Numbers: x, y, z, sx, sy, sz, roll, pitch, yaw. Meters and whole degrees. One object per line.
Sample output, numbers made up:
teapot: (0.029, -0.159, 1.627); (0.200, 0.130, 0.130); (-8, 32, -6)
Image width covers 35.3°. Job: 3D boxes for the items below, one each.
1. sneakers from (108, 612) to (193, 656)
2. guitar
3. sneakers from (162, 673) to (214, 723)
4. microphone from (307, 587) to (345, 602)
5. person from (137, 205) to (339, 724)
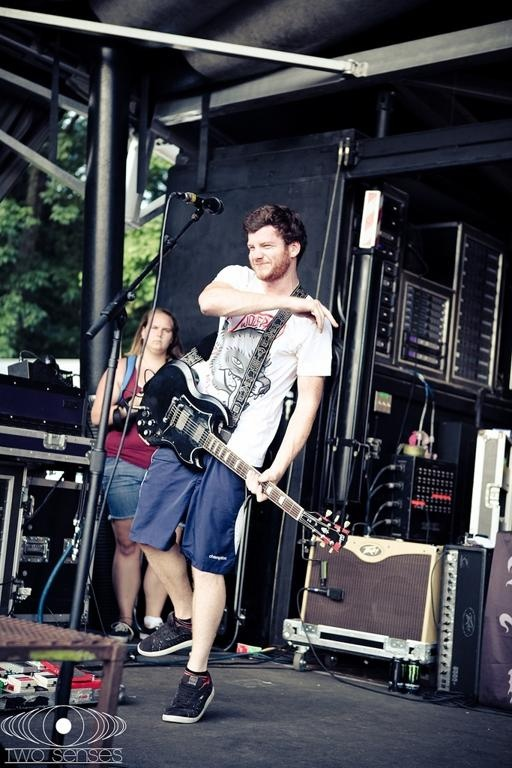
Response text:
sneakers: (-0.278, 0.818, 2.619); (0.369, 0.150, 0.121); (-1, -10, 1)
guitar: (-0.062, 0.266, 2.731); (0.945, 0.330, 0.168); (38, 27, 32)
sneakers: (-0.170, 0.871, 2.266); (0.073, 0.091, 0.214); (4, 6, 20)
microphone: (0.304, 0.896, 3.437); (0.181, 0.046, 0.038); (6, 19, 29)
person: (-0.059, 0.186, 2.411); (0.421, 1.572, 0.693); (14, -13, -31)
